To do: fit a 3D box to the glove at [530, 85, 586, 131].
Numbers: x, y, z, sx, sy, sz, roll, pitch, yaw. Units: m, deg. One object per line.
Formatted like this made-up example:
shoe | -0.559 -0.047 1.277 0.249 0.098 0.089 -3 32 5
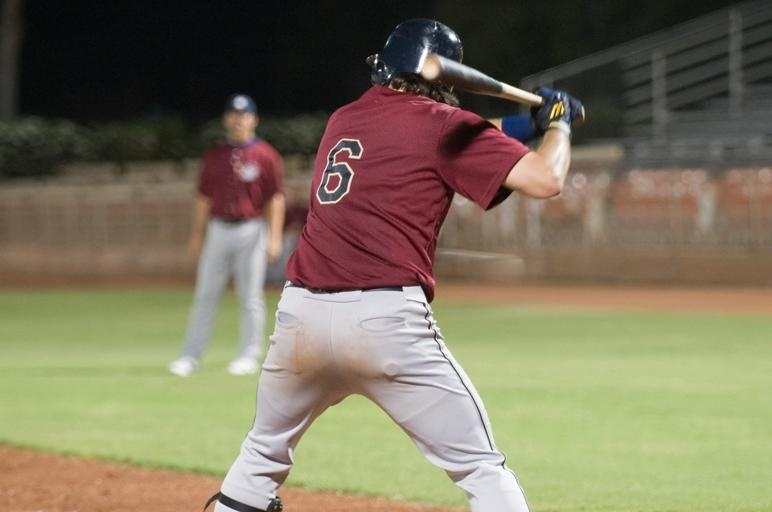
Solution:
glove | 1.799 -1.533 12.210 0.509 0.474 0.180 16 -19 -5
